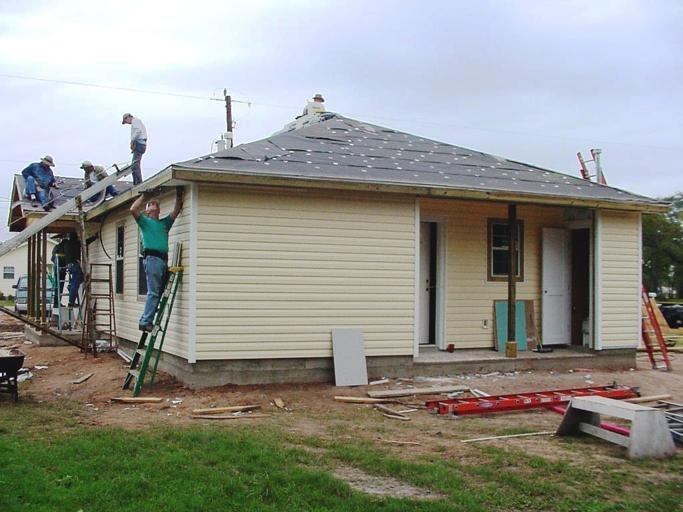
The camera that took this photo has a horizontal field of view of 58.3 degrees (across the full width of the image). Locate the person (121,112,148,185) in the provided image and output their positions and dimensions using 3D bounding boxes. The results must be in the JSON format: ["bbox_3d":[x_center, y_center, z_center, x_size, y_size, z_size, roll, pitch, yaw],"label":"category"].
[{"bbox_3d":[-5.027,-2.566,14.825,0.506,1.762,1.515,0,3,-19],"label":"person"}]

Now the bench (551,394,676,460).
[{"bbox_3d":[3.580,2.156,7.745,0.828,0.400,1.041,5,-7,-24],"label":"bench"}]

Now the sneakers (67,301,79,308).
[{"bbox_3d":[-7.108,1.278,16.110,0.207,0.109,0.323,1,-8,-13],"label":"sneakers"}]

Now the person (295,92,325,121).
[{"bbox_3d":[-0.869,-4.197,17.240,0.702,0.754,0.985,0,3,-6],"label":"person"}]

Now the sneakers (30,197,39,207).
[{"bbox_3d":[-8.112,-1.405,16.177,0.160,0.266,0.189,-1,4,-35],"label":"sneakers"}]

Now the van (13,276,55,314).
[{"bbox_3d":[-10.257,1.311,20.364,1.727,1.190,2.768,2,-9,-26],"label":"van"}]

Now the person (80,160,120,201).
[{"bbox_3d":[-6.487,-1.971,16.236,0.617,1.136,3.012,-1,3,-26],"label":"person"}]
